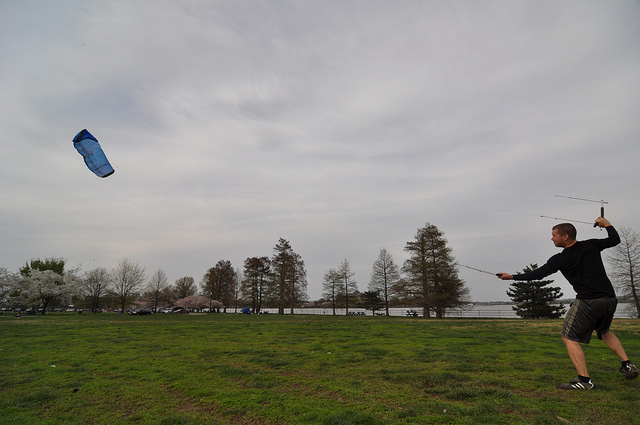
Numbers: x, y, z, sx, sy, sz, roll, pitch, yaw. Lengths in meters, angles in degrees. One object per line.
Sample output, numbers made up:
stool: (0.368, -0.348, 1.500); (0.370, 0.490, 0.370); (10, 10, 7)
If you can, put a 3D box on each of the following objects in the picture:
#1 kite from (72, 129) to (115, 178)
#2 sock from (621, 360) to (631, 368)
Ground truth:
kite: (-7.841, -1.770, 15.292); (1.386, 0.464, 2.458); (41, -26, -12)
sock: (8.285, 4.016, 12.074); (0.184, 0.193, 0.192); (-12, -20, 31)
